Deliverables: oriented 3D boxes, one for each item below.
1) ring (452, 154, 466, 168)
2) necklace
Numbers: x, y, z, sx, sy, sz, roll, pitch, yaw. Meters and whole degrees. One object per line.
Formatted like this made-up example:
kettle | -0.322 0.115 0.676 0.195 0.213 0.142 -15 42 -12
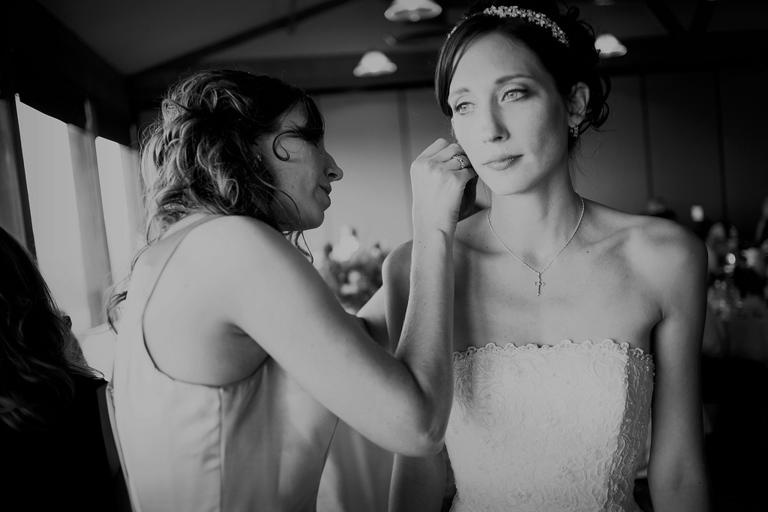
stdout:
ring | 0.338 -0.420 3.620 0.046 0.056 0.016 -4 -21 -26
necklace | 0.706 -0.044 3.720 0.370 0.615 0.030 1 -9 4
